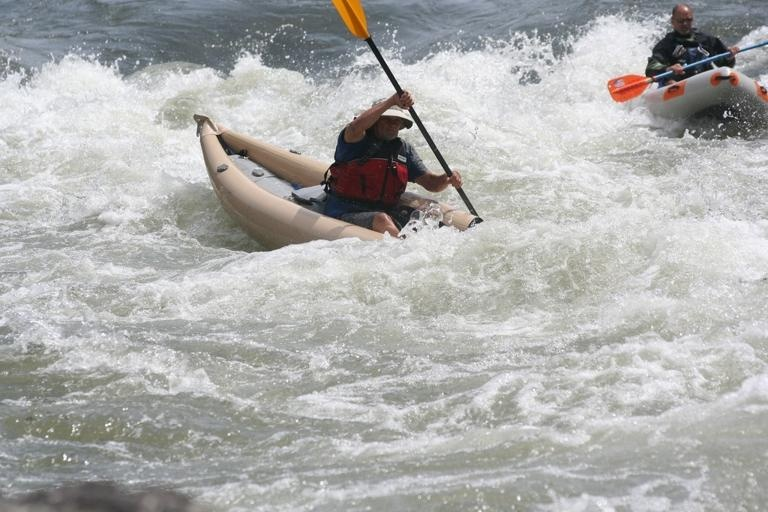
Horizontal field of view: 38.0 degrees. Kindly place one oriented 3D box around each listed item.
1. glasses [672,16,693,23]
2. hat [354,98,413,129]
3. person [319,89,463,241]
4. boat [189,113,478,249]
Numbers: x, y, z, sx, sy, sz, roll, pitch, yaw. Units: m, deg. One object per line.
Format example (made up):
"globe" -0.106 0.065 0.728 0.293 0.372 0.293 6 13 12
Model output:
"glasses" 3.982 -3.182 15.052 0.267 0.116 0.144 12 29 25
"hat" 0.017 -1.565 12.390 0.899 0.239 0.848 8 2 1
"person" -0.153 -1.108 12.331 0.999 1.506 1.048 19 33 32
"boat" -1.260 -0.776 12.968 3.887 0.674 1.243 23 30 26
